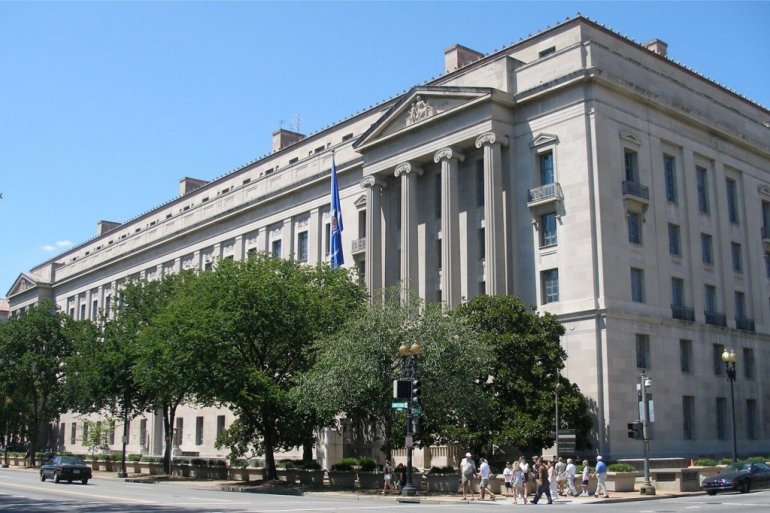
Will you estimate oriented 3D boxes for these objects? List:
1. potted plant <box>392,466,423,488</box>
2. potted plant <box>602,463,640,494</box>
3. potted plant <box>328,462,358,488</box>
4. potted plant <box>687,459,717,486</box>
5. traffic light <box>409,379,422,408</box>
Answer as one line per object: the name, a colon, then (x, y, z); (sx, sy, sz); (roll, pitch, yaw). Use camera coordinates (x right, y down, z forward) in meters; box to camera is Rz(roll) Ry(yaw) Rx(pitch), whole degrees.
potted plant: (1.528, 15.445, 62.227); (1.771, 1.320, 1.490); (-2, -21, 10)
potted plant: (16.044, 15.071, 60.216); (1.539, 1.589, 2.211); (0, -10, 4)
potted plant: (-3.073, 16.070, 65.203); (1.566, 1.413, 2.056); (7, -18, -20)
potted plant: (22.752, 15.394, 63.343); (1.842, 1.126, 1.737); (2, -13, -9)
traffic light: (1.905, 8.644, 56.009); (0.558, 1.733, 0.658); (0, -16, -2)
